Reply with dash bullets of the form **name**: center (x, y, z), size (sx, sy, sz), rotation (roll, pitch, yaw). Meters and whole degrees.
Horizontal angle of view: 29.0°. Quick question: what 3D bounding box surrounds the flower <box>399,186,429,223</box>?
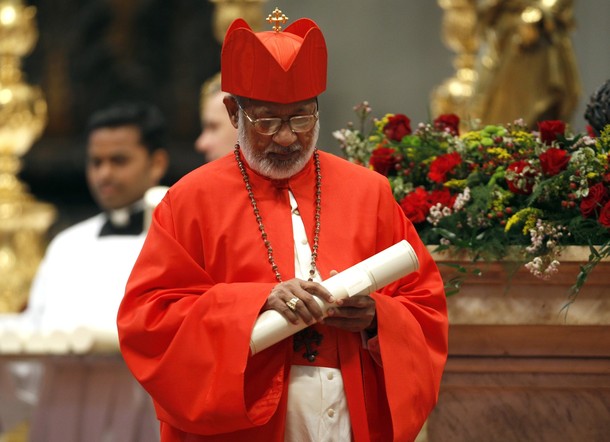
- **flower**: center (0.657, -0.094, 6.977), size (0.187, 0.182, 0.095), rotation (-31, -20, -4)

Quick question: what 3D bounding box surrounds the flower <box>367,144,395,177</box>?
- **flower**: center (0.478, -0.375, 7.169), size (0.177, 0.176, 0.116), rotation (-12, 14, 23)

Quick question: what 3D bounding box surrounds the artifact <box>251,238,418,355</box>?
- **artifact**: center (0.132, 0.431, 6.416), size (0.893, 0.199, 0.231), rotation (-25, 42, -5)

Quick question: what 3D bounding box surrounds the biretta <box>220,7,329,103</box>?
- **biretta**: center (-0.174, -0.944, 6.607), size (0.539, 0.318, 0.519), rotation (-4, 11, -19)

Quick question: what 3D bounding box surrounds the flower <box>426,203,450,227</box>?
- **flower**: center (0.778, -0.042, 6.921), size (0.127, 0.120, 0.065), rotation (-19, 28, 23)

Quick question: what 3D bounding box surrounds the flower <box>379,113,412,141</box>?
- **flower**: center (0.557, -0.576, 7.183), size (0.171, 0.158, 0.102), rotation (4, -18, 2)

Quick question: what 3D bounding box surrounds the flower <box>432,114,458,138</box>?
- **flower**: center (0.859, -0.585, 7.179), size (0.143, 0.136, 0.134), rotation (-3, 2, -8)

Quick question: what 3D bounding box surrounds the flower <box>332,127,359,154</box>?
- **flower**: center (0.231, -0.503, 7.307), size (0.145, 0.150, 0.083), rotation (-14, 20, -38)
